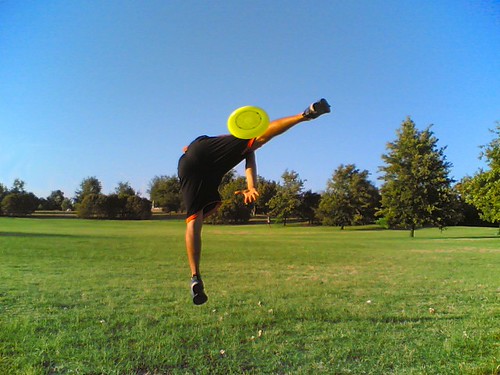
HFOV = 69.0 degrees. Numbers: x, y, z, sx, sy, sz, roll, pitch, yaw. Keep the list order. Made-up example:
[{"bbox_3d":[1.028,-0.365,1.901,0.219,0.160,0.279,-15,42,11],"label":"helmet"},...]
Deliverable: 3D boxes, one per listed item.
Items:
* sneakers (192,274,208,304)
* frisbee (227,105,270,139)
[{"bbox_3d":[-0.704,1.373,4.972,0.177,0.414,0.181,-15,31,-11],"label":"sneakers"},{"bbox_3d":[0.000,-0.927,5.011,0.637,0.213,0.652,-12,-1,-20],"label":"frisbee"}]
